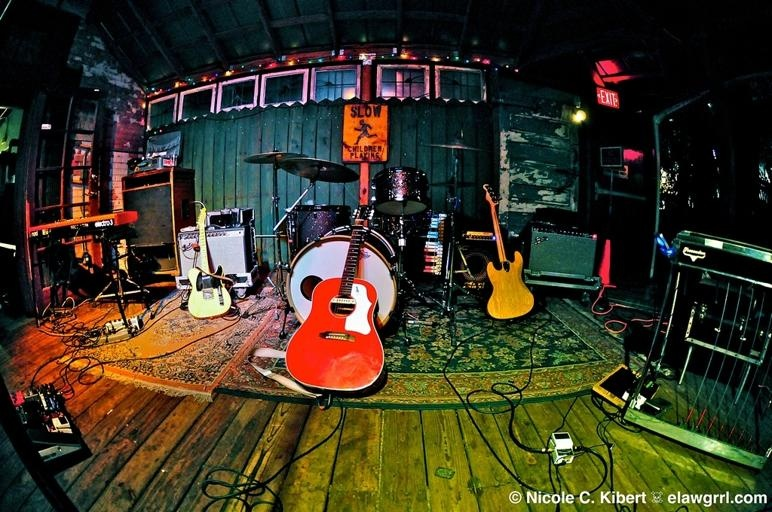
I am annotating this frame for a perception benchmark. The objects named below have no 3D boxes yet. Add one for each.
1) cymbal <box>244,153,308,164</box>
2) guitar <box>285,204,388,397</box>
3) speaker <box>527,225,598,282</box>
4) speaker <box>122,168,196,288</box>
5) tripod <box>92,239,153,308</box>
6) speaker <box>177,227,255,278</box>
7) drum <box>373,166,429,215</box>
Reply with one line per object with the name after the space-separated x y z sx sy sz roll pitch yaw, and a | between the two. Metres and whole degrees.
-1.525 -1.276 6.100 0.455 0.101 0.443 -5 7 -5 | cymbal
-0.596 0.544 5.082 0.998 1.557 0.973 -3 5 -9 | guitar
2.462 0.022 6.690 0.923 0.747 0.504 6 -5 1 | speaker
-3.571 -0.480 7.405 0.966 1.625 0.539 -6 -1 17 | speaker
-3.706 0.275 6.502 0.737 0.911 0.645 -1 40 -32 | tripod
-2.635 0.013 6.771 1.085 0.862 0.605 -6 11 -41 | speaker
0.163 -0.888 6.137 0.687 0.388 0.699 -3 -1 0 | drum
